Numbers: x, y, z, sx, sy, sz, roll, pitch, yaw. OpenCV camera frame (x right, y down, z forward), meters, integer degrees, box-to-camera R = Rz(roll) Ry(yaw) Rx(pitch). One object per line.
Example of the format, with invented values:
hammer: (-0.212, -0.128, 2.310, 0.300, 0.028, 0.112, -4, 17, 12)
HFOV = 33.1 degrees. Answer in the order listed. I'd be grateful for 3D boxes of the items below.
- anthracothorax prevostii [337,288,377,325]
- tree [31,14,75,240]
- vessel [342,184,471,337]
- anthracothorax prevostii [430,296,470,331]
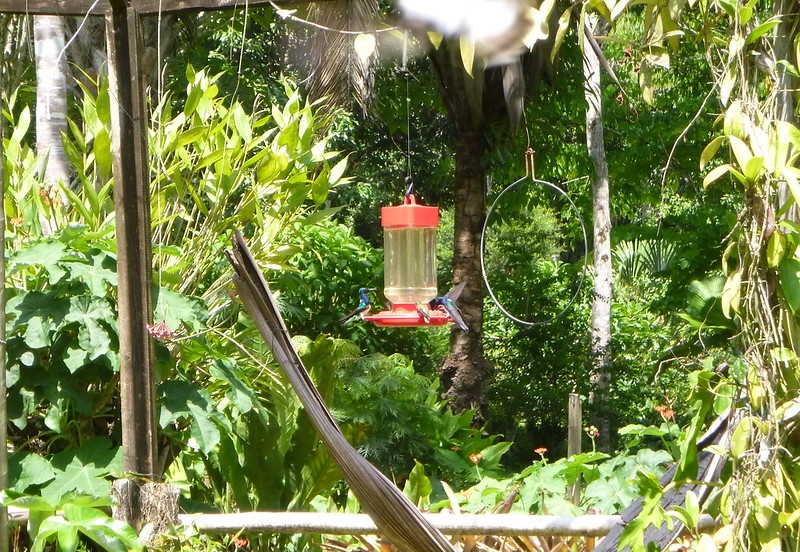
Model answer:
anthracothorax prevostii: (-0.246, 0.158, 7.982, 0.225, 0.207, 0.083, -8, 18, -2)
tree: (-2.284, -1.083, 8.821, 0.217, 1.191, 2.098, -2, -1, -14)
vessel: (0.094, -0.110, 8.667, 0.748, 0.846, 0.794, -3, -5, 16)
anthracothorax prevostii: (0.284, 0.210, 7.906, 0.199, 0.180, 0.549, -2, -1, 1)
